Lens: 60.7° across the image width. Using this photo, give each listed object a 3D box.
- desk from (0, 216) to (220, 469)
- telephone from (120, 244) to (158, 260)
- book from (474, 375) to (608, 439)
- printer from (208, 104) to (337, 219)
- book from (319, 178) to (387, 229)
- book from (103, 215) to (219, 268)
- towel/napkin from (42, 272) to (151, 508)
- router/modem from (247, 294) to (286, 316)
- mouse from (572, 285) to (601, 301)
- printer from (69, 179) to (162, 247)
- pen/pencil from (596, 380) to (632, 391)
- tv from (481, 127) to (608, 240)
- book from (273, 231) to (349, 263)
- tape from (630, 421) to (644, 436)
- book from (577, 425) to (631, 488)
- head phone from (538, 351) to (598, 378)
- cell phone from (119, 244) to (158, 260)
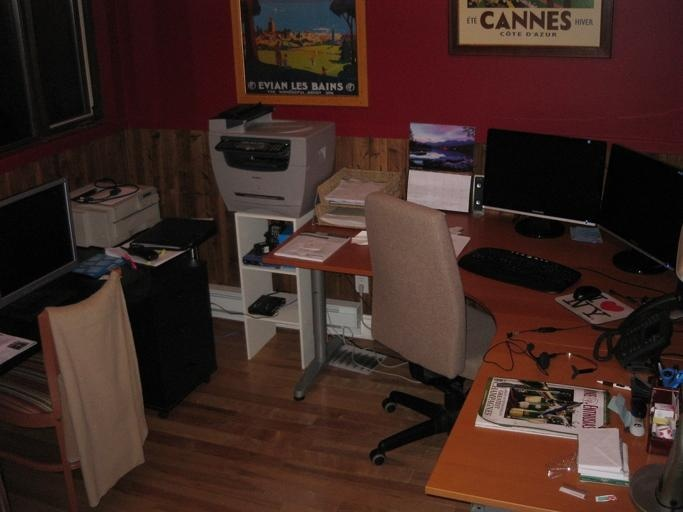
[{"bbox_3d":[-1.368,0.544,3.675,1.037,1.255,1.400,11,26,21],"label":"desk"},{"bbox_3d":[-1.170,-0.024,3.397,0.169,0.047,0.097,17,26,14],"label":"telephone"},{"bbox_3d":[0.733,0.553,2.133,0.305,0.038,0.219,6,28,15],"label":"book"},{"bbox_3d":[-0.400,-0.675,3.853,0.847,0.700,0.609,5,31,11],"label":"printer"},{"bbox_3d":[0.060,-0.348,3.632,0.287,0.138,0.365,11,31,20],"label":"book"},{"bbox_3d":[-1.076,-0.105,3.516,0.385,0.094,0.377,9,26,16],"label":"book"},{"bbox_3d":[-1.131,0.640,2.792,0.159,1.062,0.424,15,27,30],"label":"towel/napkin"},{"bbox_3d":[-0.509,0.332,3.900,0.157,0.035,0.153,6,27,17],"label":"router/modem"},{"bbox_3d":[1.158,0.168,2.751,0.114,0.035,0.067,-9,20,-22],"label":"mouse"},{"bbox_3d":[-1.466,-0.281,3.725,0.460,0.268,0.539,9,25,16],"label":"printer"},{"bbox_3d":[1.044,0.498,2.233,0.141,0.023,0.019,11,43,25],"label":"pen/pencil"},{"bbox_3d":[1.168,-0.411,3.287,0.559,0.472,0.262,15,34,31],"label":"tv"},{"bbox_3d":[-0.162,-0.050,3.330,0.242,0.024,0.220,8,29,26],"label":"book"},{"bbox_3d":[1.029,0.590,2.007,0.054,0.059,0.027,2,23,3],"label":"tape"},{"bbox_3d":[0.873,0.661,1.940,0.160,0.067,0.226,9,24,18],"label":"book"},{"bbox_3d":[0.917,0.432,2.355,0.143,0.048,0.119,15,18,29],"label":"head phone"},{"bbox_3d":[-1.173,-0.026,3.407,0.174,0.055,0.099,8,-2,19],"label":"cell phone"}]
